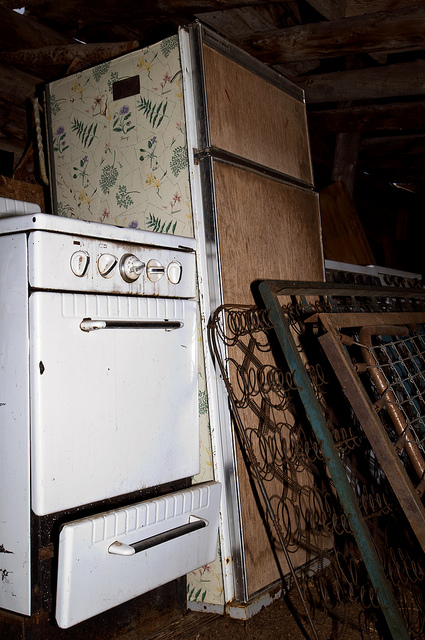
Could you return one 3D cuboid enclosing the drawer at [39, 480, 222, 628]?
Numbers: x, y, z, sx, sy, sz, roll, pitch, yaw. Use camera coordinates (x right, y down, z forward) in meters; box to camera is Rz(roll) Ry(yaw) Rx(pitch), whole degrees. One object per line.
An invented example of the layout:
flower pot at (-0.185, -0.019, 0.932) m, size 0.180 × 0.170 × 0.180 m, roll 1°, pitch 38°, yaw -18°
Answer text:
drawer at (-0.225, 0.537, 1.353) m, size 0.476 × 0.238 × 0.344 m, roll -1°, pitch 10°, yaw -39°
